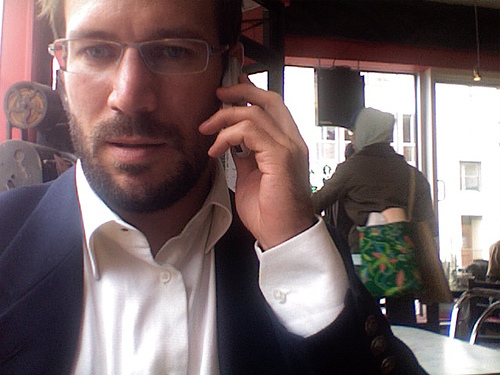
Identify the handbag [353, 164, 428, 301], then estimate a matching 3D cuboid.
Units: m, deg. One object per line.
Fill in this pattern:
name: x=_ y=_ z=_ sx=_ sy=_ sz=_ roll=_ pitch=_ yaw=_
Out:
handbag: x=0.999 y=0.389 z=3.724 sx=0.507 sy=1.046 sz=0.227 roll=-7 pitch=-31 yaw=18
